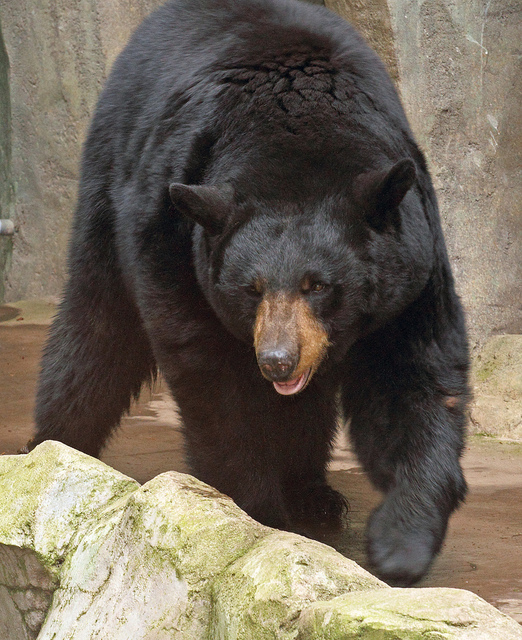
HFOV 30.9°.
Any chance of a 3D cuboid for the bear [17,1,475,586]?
[{"bbox_3d":[-0.022,-0.237,3.894,1.054,2.256,1.921,-20,16,-33],"label":"bear"}]
